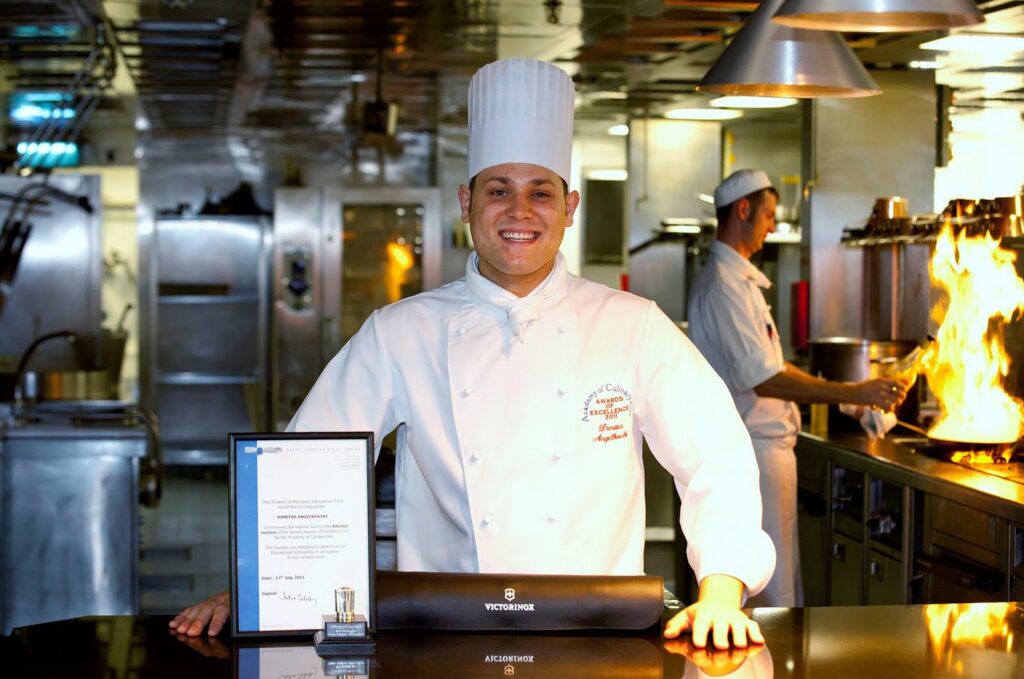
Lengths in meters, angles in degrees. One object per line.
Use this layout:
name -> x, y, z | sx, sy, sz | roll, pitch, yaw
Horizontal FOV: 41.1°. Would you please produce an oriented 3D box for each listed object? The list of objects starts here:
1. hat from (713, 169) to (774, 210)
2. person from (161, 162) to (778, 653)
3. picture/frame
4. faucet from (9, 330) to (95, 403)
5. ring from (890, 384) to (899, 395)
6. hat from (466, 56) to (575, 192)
hat -> 1.010, -0.658, 6.027 | 0.221, 0.121, 0.167 | -31, 4, 24
person -> -0.044, 0.164, 4.029 | 1.589, 1.440, 0.939 | -2, -6, 13
picture/frame -> -0.569, 0.537, 3.690 | 0.496, 0.720, 0.036 | -1, -1, -5
faucet -> -2.112, 0.116, 6.261 | 0.336, 0.288, 0.075 | -5, 15, -17
ring -> 1.550, 0.205, 5.541 | 0.037, 0.032, 0.012 | -3, 14, -11
hat -> 0.019, -0.623, 4.252 | 0.330, 0.334, 0.356 | 0, -17, 0
